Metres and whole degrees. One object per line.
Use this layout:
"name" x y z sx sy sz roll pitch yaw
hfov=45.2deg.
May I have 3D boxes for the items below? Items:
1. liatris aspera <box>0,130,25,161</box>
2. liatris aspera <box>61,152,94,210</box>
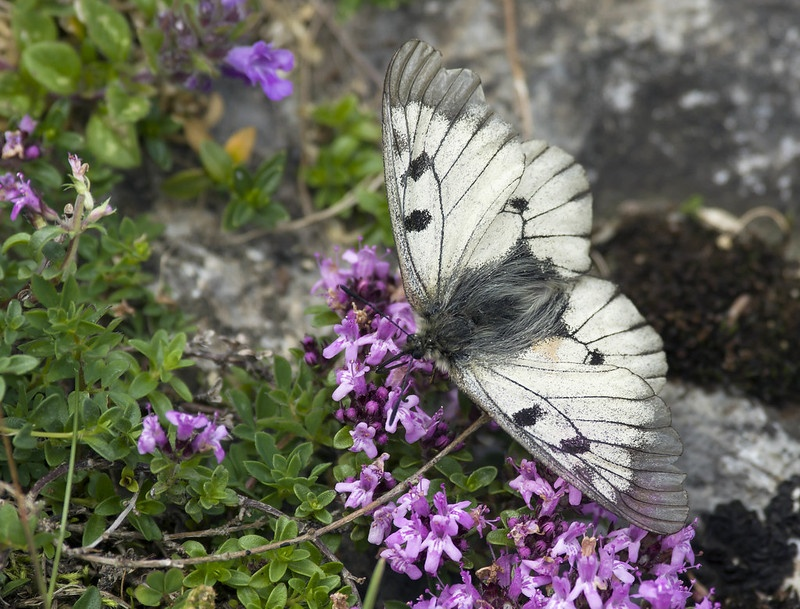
"liatris aspera" -2.200 -0.910 5.471 0.119 0.127 0.111 -7 50 -19
"liatris aspera" -1.621 -0.670 4.843 0.071 0.243 0.075 8 60 -6
